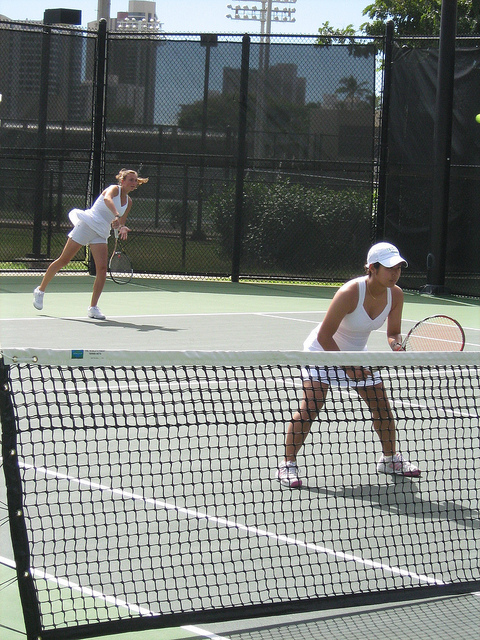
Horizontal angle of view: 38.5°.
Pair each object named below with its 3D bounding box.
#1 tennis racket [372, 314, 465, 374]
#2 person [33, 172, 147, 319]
[{"bbox_3d":[1.319,0.098,4.659,0.351,0.323,0.908,8,9,16],"label":"tennis racket"},{"bbox_3d":[-1.745,-0.930,8.432,0.835,1.779,0.768,10,10,29],"label":"person"}]
